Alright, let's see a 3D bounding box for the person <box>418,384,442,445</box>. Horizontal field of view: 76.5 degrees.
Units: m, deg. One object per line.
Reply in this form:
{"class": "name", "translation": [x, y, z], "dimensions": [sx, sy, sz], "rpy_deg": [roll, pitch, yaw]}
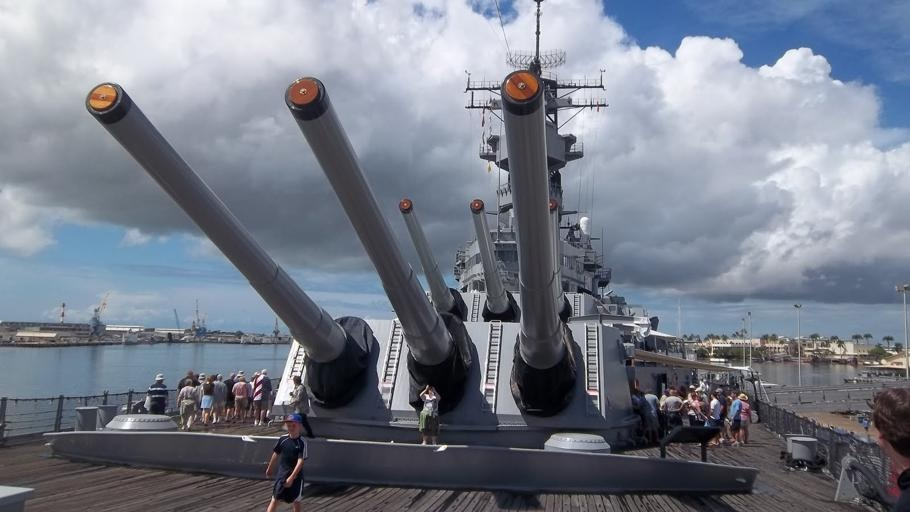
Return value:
{"class": "person", "translation": [-0.664, 3.990, 14.506], "dimensions": [0.487, 1.409, 0.668], "rpy_deg": [1, -11, -2]}
